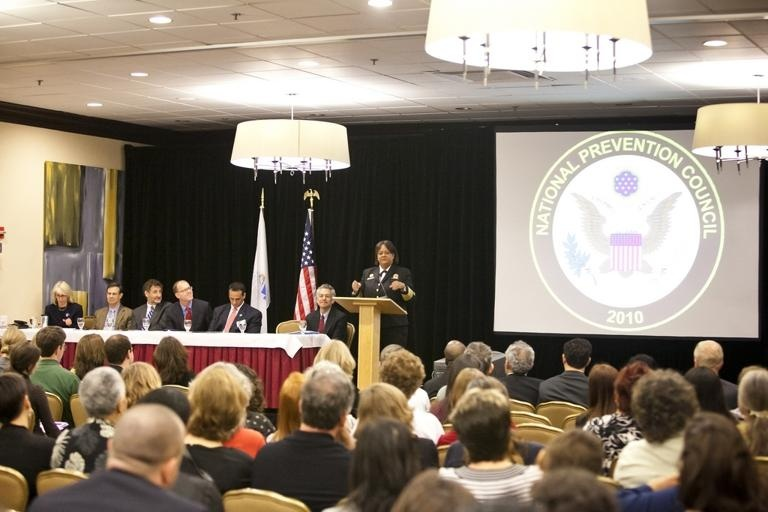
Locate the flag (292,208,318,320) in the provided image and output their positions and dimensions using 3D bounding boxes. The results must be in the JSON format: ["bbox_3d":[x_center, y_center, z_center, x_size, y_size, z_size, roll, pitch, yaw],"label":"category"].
[{"bbox_3d":[-1.173,0.079,10.709,0.293,1.703,1.299,1,-2,-6],"label":"flag"}]

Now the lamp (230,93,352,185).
[{"bbox_3d":[-1.182,-1.504,8.646,1.330,1.066,1.328,3,-3,-36],"label":"lamp"}]

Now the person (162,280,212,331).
[{"bbox_3d":[-2.838,0.726,10.121,0.510,1.118,0.342,-2,-32,-15],"label":"person"}]

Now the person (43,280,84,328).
[{"bbox_3d":[-4.713,0.787,10.186,0.538,0.837,0.523,4,9,-5],"label":"person"}]

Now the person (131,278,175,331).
[{"bbox_3d":[-3.175,0.656,9.454,0.624,0.893,0.644,0,-7,-9],"label":"person"}]

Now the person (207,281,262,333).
[{"bbox_3d":[-1.962,0.724,9.133,0.763,0.717,0.414,4,-1,14],"label":"person"}]
